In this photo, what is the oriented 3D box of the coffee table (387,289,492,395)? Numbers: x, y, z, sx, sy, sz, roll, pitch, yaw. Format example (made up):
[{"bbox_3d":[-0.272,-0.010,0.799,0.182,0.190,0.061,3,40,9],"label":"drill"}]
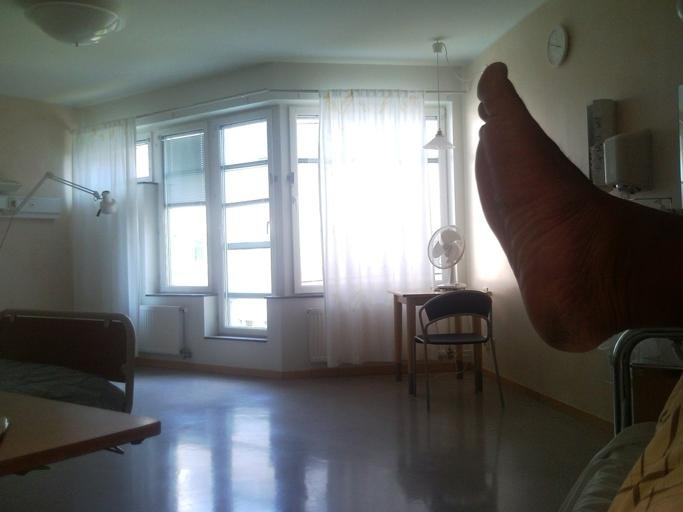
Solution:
[{"bbox_3d":[0.714,0.543,4.514,0.794,0.902,0.781,-1,1,0],"label":"coffee table"}]

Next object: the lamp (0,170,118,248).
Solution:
[{"bbox_3d":[-2.720,-0.464,5.541,1.138,0.788,0.801,1,5,31],"label":"lamp"}]

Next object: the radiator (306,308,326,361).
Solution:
[{"bbox_3d":[-0.211,0.686,4.947,0.042,0.444,0.293,0,-1,32],"label":"radiator"}]

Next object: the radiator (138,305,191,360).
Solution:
[{"bbox_3d":[-1.759,0.706,5.559,0.460,0.464,0.168,4,3,-3],"label":"radiator"}]

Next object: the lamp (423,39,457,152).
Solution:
[{"bbox_3d":[0.842,-1.358,4.906,0.222,0.891,0.754,0,4,11],"label":"lamp"}]

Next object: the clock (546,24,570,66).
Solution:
[{"bbox_3d":[1.521,-1.478,3.950,0.072,0.284,0.189,-1,4,-7],"label":"clock"}]

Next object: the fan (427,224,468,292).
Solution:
[{"bbox_3d":[0.857,0.002,4.564,0.282,0.505,0.458,-1,4,2],"label":"fan"}]
